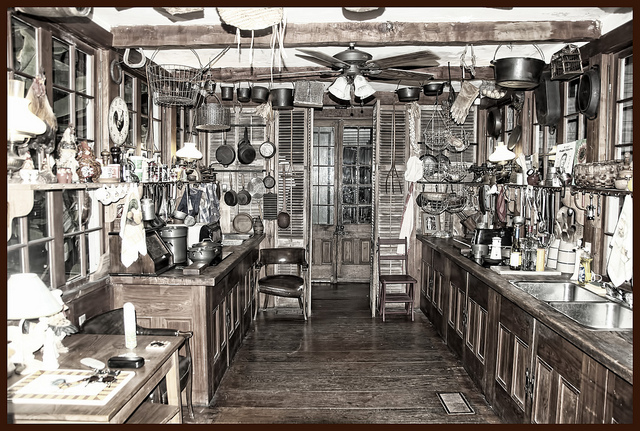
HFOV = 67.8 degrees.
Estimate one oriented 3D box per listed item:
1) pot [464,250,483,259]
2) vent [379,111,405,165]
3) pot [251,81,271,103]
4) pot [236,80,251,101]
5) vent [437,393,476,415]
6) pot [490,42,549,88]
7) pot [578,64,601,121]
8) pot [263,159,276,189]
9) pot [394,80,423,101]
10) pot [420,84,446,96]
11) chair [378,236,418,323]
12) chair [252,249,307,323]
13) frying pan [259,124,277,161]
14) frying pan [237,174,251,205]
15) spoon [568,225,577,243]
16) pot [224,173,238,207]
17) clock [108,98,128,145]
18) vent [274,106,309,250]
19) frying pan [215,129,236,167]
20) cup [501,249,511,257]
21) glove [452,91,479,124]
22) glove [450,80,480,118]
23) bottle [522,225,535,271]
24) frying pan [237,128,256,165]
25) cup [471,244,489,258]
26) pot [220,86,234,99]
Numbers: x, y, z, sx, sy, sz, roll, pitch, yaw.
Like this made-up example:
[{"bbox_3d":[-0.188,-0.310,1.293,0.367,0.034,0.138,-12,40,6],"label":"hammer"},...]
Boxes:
[{"bbox_3d":[1.642,0.419,5.076,0.166,0.085,0.089,0,0,4],"label":"pot"},{"bbox_3d":[1.018,-1.079,6.681,0.352,0.732,0.144,1,10,7],"label":"vent"},{"bbox_3d":[-0.674,-1.413,5.514,0.177,0.220,0.181,2,-18,1],"label":"pot"},{"bbox_3d":[-0.877,-1.444,5.566,0.152,0.193,0.145,1,-2,0],"label":"pot"},{"bbox_3d":[1.245,1.714,4.362,0.248,0.026,0.311,-1,10,-5],"label":"vent"},{"bbox_3d":[1.661,-1.198,3.944,0.317,0.282,0.265,1,-5,5],"label":"pot"},{"bbox_3d":[2.415,-1.075,4.305,0.099,0.444,0.247,-3,10,-14],"label":"pot"},{"bbox_3d":[-0.706,-0.585,6.734,0.132,0.393,0.122,0,10,0],"label":"pot"},{"bbox_3d":[1.010,-1.402,5.444,0.192,0.157,0.161,0,-13,2],"label":"pot"},{"bbox_3d":[1.260,-1.381,5.282,0.240,0.104,0.287,2,10,10],"label":"pot"},{"bbox_3d":[1.067,0.843,6.474,0.527,1.030,0.718,1,10,7],"label":"chair"},{"bbox_3d":[-0.519,0.891,6.384,0.704,0.898,0.957,0,10,-2],"label":"chair"},{"bbox_3d":[-0.722,-1.019,6.747,0.252,0.489,0.070,-2,-8,9],"label":"frying pan"},{"bbox_3d":[-1.075,-0.361,6.771,0.224,0.429,0.066,-2,2,5],"label":"frying pan"},{"bbox_3d":[2.368,0.163,4.466,0.072,0.155,0.048,-9,14,-43],"label":"spoon"},{"bbox_3d":[-1.235,-0.352,6.716,0.173,0.469,0.175,0,10,0],"label":"pot"},{"bbox_3d":[-1.927,-0.911,4.604,0.440,0.466,0.031,19,16,40],"label":"clock"},{"bbox_3d":[-0.405,-0.589,6.767,0.475,2.049,0.090,4,-20,-12],"label":"vent"},{"bbox_3d":[-1.310,-0.886,6.564,0.285,0.537,0.078,-3,3,13],"label":"frying pan"},{"bbox_3d":[1.918,0.390,4.912,0.107,0.107,0.060,-1,4,8],"label":"cup"},{"bbox_3d":[1.686,-1.253,5.524,0.114,0.594,0.171,24,9,6],"label":"glove"},{"bbox_3d":[1.478,-1.234,5.114,0.324,0.310,0.081,-2,-15,-36],"label":"glove"},{"bbox_3d":[2.062,0.314,4.704,0.128,0.465,0.133,-5,22,2],"label":"bottle"},{"bbox_3d":[-1.018,-0.949,6.711,0.265,0.496,0.074,-6,9,-22],"label":"frying pan"},{"bbox_3d":[1.680,0.367,4.994,0.130,0.124,0.129,1,5,0],"label":"cup"},{"bbox_3d":[-1.096,-1.444,5.679,0.132,0.104,0.134,1,-5,0],"label":"pot"}]
